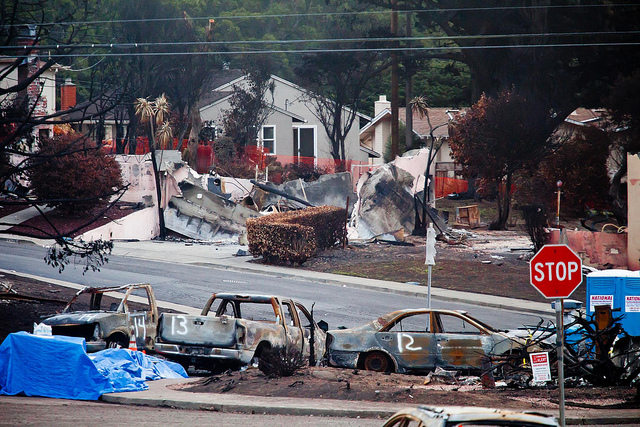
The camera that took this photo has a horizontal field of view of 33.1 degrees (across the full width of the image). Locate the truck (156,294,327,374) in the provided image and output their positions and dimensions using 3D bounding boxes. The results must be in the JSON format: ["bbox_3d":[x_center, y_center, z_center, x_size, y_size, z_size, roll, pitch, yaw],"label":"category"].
[{"bbox_3d":[-2.830,4.219,38.638,5.924,2.623,2.318,1,3,-8],"label":"truck"}]

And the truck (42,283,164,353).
[{"bbox_3d":[-7.861,4.041,40.579,3.600,2.962,5.554,-5,-7,24],"label":"truck"}]
